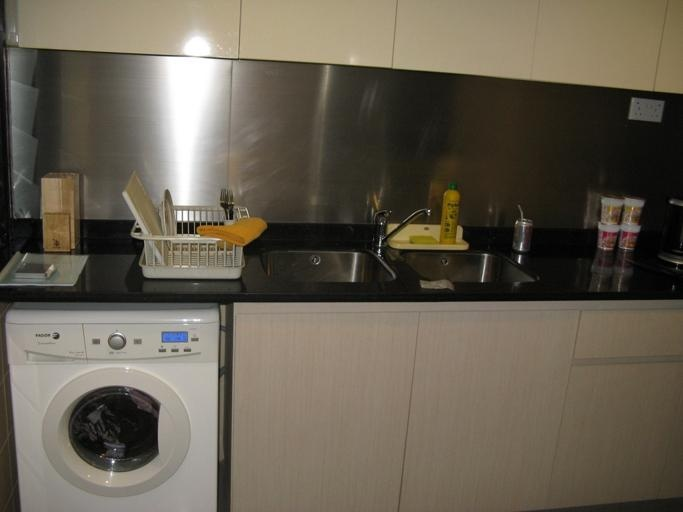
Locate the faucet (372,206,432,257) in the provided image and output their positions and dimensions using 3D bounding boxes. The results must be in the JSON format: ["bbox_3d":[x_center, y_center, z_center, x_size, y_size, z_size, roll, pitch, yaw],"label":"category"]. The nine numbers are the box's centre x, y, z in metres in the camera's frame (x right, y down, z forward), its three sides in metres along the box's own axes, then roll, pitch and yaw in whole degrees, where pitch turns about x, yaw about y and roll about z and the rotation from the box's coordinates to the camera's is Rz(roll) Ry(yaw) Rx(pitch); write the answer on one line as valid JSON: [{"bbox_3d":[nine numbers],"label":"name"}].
[{"bbox_3d":[0.284,-0.121,2.659,0.283,0.195,0.284,0,9,4],"label":"faucet"}]

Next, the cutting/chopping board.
[{"bbox_3d":[-0.794,-0.162,2.318,0.036,0.290,0.325,-20,-33,-6],"label":"cutting/chopping board"}]

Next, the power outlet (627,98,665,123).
[{"bbox_3d":[1.499,-0.719,2.808,0.191,0.114,0.028,-3,9,-15],"label":"power outlet"}]

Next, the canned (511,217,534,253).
[{"bbox_3d":[0.867,-0.101,2.752,0.083,0.156,0.151,2,9,17],"label":"canned"}]
